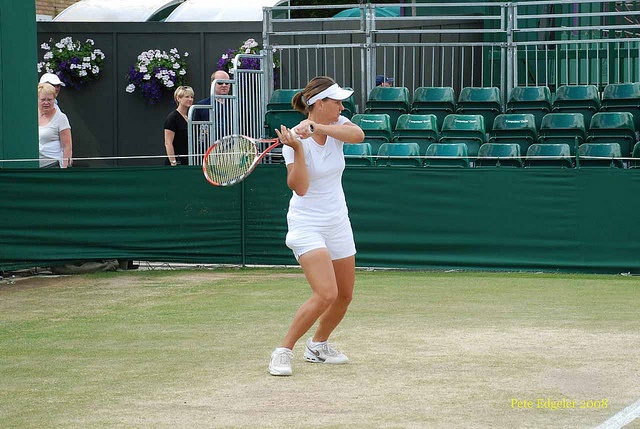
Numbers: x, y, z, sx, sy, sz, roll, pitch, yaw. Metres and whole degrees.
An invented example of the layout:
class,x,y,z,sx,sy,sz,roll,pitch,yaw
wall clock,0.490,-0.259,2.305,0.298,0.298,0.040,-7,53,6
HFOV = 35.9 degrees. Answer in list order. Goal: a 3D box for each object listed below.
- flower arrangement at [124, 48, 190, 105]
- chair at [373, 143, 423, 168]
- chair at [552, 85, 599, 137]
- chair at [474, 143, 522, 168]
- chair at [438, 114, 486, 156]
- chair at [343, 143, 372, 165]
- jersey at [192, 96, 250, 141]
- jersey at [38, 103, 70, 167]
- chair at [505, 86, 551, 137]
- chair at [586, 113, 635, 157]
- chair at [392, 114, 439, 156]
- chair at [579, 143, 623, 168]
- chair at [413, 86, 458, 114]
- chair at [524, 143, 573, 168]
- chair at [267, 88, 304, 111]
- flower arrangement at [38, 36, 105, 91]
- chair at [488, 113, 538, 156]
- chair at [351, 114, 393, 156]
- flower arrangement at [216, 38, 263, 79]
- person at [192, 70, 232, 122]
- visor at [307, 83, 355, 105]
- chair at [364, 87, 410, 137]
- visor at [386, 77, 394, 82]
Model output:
class,x,y,z,sx,sy,sz,roll,pitch,yaw
flower arrangement,-3.151,-2.930,20.459,0.728,0.690,0.890,10,20,33
chair,1.209,-0.937,15.255,0.630,0.487,0.532,0,-8,4
chair,4.207,-1.732,16.482,1.009,0.904,0.844,0,-3,15
chair,2.712,-0.928,14.965,0.600,0.416,0.533,0,-4,12
chair,2.295,-1.483,16.120,0.761,0.561,0.516,-1,3,-2
chair,0.589,-0.962,15.484,0.465,0.222,0.410,1,7,7
jersey,-1.446,-1.663,16.083,0.030,0.668,1.208,-12,15,-29
jersey,-3.960,-1.193,14.642,0.413,0.705,0.275,-14,21,-40
chair,3.676,-1.744,16.786,1.060,0.775,1.042,1,1,14
chair,4.543,-1.265,15.463,0.734,0.631,0.552,4,15,16
chair,1.582,-1.302,16.423,0.882,0.592,0.718,0,0,10
chair,4.162,-0.919,14.739,0.552,0.268,0.496,1,7,17
chair,1.931,-1.949,16.701,0.782,0.364,0.531,0,9,5
chair,3.420,-0.882,14.833,0.687,0.305,1.502,3,14,14
chair,-0.659,-1.977,16.964,0.504,0.350,0.746,-1,14,-1
flower arrangement,-5.230,-3.154,20.593,1.254,1.123,0.690,5,16,22
chair,3.102,-1.264,16.114,0.912,0.664,0.738,0,-1,12
chair,0.921,-1.319,16.308,0.787,0.763,0.759,2,7,14
flower arrangement,-1.561,-3.043,19.594,1.280,0.683,1.037,2,17,13
person,-1.800,-1.905,15.875,0.509,0.772,0.884,4,15,17
visor,0.109,-1.220,9.960,0.383,0.098,0.204,-13,3,15
chair,1.146,-1.816,17.176,0.932,0.916,0.872,0,-1,9
visor,1.332,-2.568,18.688,0.126,0.038,0.158,-1,0,1
